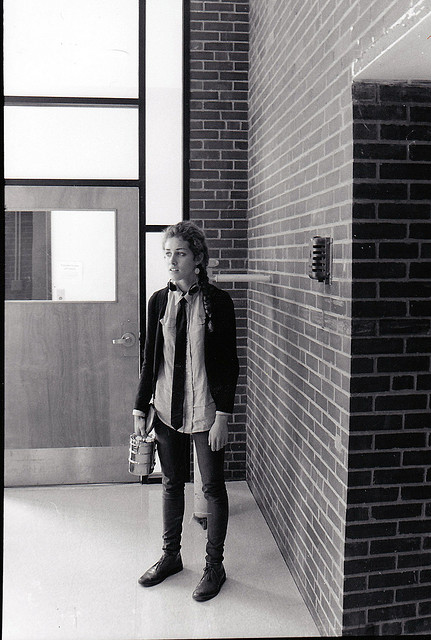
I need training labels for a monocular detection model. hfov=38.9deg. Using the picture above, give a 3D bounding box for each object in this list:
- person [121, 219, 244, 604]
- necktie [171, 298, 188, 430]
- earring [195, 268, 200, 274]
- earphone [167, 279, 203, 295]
[{"bbox_3d":[-0.058,0.328,2.520,0.395,1.444,0.553,3,4,41],"label":"person"},{"bbox_3d":[-0.137,0.171,2.384,0.080,0.505,0.040,-3,4,-39],"label":"necktie"},{"bbox_3d":[-0.076,-0.199,2.454,0.015,0.023,0.004,6,-1,21],"label":"earring"},{"bbox_3d":[-0.125,-0.123,2.395,0.095,0.053,0.115,1,-7,0],"label":"earphone"}]
